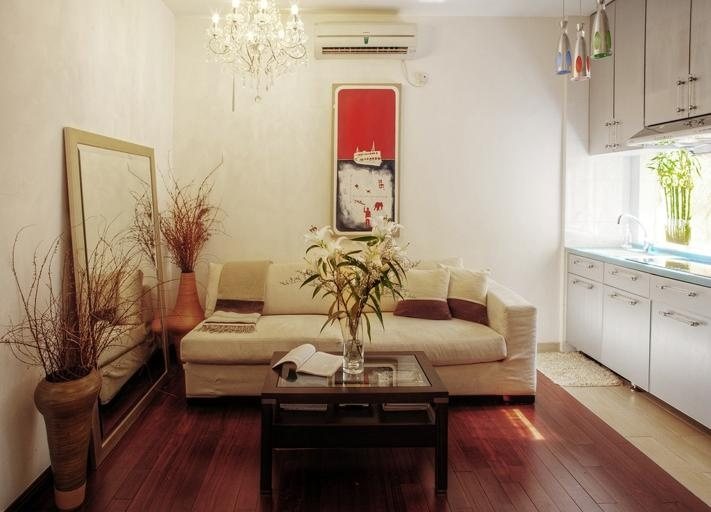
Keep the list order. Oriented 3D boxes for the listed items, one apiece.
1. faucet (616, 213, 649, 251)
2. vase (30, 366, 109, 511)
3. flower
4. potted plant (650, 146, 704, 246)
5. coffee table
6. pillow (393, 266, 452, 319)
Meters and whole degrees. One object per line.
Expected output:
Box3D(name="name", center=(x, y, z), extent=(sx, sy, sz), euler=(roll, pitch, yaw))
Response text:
Box3D(name="faucet", center=(2.820, -0.248, 5.133), extent=(0.284, 0.372, 0.373), euler=(1, 8, 23))
Box3D(name="vase", center=(-1.684, 1.114, 3.040), extent=(0.339, 0.807, 0.181), euler=(-6, 9, -33))
Box3D(name="flower", center=(-0.034, 0.158, 3.541), extent=(0.755, 0.903, 0.652), euler=(-9, 36, -12))
Box3D(name="potted plant", center=(2.983, -0.559, 4.763), extent=(0.179, 0.880, 0.430), euler=(-3, 8, -14))
Box3D(name="coffee table", center=(-0.014, 1.100, 3.395), extent=(1.190, 0.734, 0.613), euler=(-2, 7, 0))
Box3D(name="pillow", center=(0.601, 0.339, 4.498), extent=(0.410, 0.167, 0.415), euler=(2, 53, 10))
